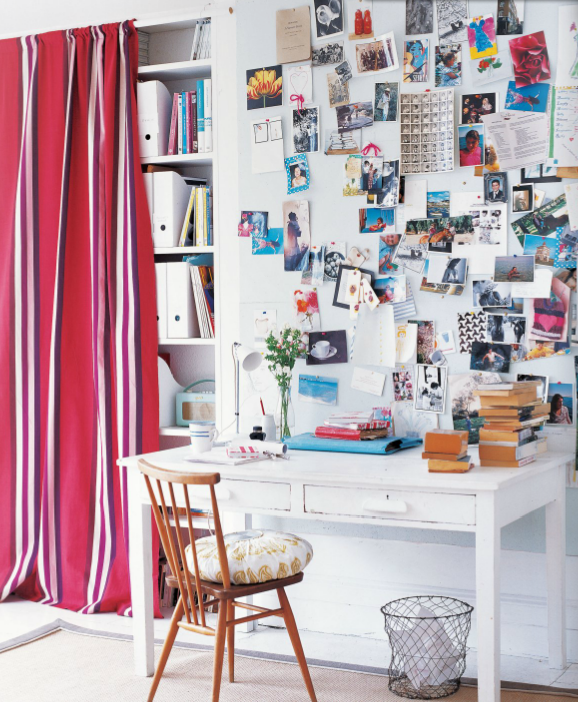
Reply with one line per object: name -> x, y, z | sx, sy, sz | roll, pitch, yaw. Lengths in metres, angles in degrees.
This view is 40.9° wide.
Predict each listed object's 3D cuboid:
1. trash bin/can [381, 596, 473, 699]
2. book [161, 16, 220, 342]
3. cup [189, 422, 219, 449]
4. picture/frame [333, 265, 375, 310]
trash bin/can -> 0.383, 0.835, 2.312 | 0.273, 0.273, 0.277 | 0, -2, 31
book -> -0.368, -0.636, 2.959 | 0.247, 1.170, 0.305 | -3, 6, 7
cup -> -0.248, 0.255, 2.308 | 0.079, 0.073, 0.063 | 0, -1, 22
picture/frame -> 0.219, -0.210, 2.561 | 0.137, 0.153, 0.011 | 5, 3, 33
